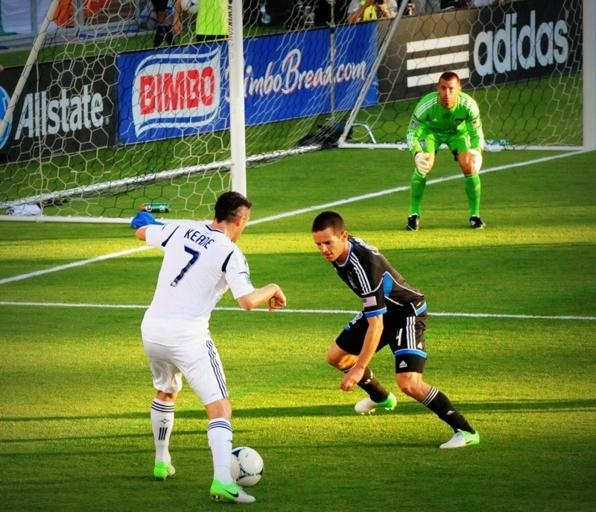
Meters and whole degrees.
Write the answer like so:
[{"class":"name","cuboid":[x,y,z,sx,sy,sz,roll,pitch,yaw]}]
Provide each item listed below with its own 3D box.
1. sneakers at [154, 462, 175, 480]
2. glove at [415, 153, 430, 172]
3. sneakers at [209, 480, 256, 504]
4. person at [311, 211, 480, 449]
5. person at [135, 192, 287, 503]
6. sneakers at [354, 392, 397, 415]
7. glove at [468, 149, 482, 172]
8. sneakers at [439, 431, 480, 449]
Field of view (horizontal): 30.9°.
[{"class":"sneakers","cuboid":[-0.789,1.256,6.317,0.059,0.077,0.166,2,5,9]},{"class":"glove","cuboid":[1.299,-0.998,11.479,0.074,0.196,0.158,-3,0,-10]},{"class":"sneakers","cuboid":[-0.386,1.318,6.056,0.296,0.134,0.108,12,-8,-25]},{"class":"person","cuboid":[0.496,0.421,6.843,0.923,1.466,1.057,-7,11,-26]},{"class":"person","cuboid":[-0.551,0.496,6.298,0.729,1.693,0.972,-3,10,-9]},{"class":"sneakers","cuboid":[0.500,0.981,7.232,0.299,0.124,0.129,-8,-29,1]},{"class":"glove","cuboid":[1.910,-1.034,11.576,0.085,0.239,0.174,5,1,-6]},{"class":"sneakers","cuboid":[0.991,1.136,6.708,0.233,0.099,0.104,-4,3,-13]}]
